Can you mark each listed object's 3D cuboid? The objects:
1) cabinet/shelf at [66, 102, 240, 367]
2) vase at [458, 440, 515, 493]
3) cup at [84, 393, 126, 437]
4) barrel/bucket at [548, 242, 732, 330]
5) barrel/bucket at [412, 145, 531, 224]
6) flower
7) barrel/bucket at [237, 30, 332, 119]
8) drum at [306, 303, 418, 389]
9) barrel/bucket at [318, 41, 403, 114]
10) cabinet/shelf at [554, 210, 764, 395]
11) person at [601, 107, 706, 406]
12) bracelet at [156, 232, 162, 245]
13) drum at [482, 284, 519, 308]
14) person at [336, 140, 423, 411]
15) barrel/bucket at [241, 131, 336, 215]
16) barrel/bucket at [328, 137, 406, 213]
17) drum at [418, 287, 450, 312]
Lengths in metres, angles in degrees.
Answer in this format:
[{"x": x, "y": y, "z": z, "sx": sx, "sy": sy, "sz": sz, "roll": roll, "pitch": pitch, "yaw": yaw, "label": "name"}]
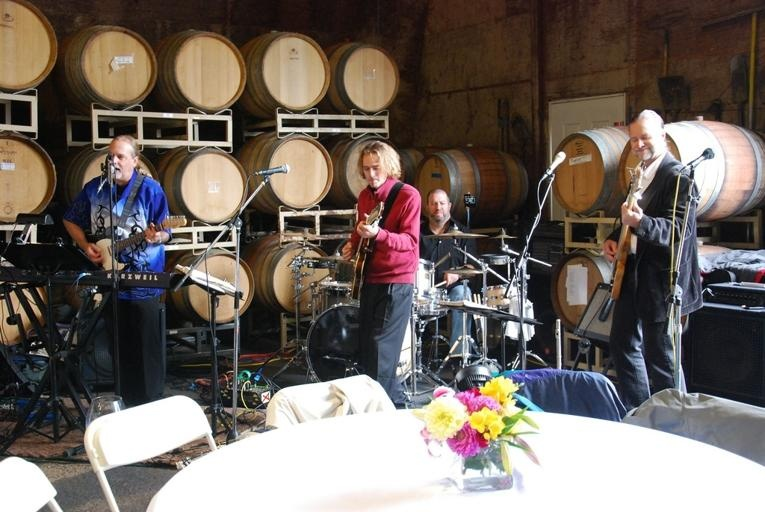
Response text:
[{"x": -2.310, "y": -0.851, "z": 9.693, "sx": 1.862, "sy": 2.498, "sz": 1.206, "roll": -2, "pitch": 3, "yaw": -19, "label": "cabinet/shelf"}, {"x": 0.547, "y": 1.040, "z": 4.675, "sx": 0.266, "sy": 0.250, "sz": 0.447, "roll": 3, "pitch": -7, "yaw": 10, "label": "vase"}, {"x": -1.540, "y": 0.858, "z": 5.127, "sx": 0.195, "sy": 0.153, "sz": 0.169, "roll": -1, "pitch": 6, "yaw": -18, "label": "cup"}, {"x": 2.252, "y": 0.189, "z": 8.424, "sx": 0.950, "sy": 1.018, "sz": 1.379, "roll": 13, "pitch": 14, "yaw": 42, "label": "barrel/bucket"}, {"x": 0.878, "y": -0.826, "z": 10.154, "sx": 1.225, "sy": 0.894, "sz": 0.932, "roll": -2, "pitch": 22, "yaw": -31, "label": "barrel/bucket"}, {"x": 0.463, "y": 0.841, "z": 4.636, "sx": 0.595, "sy": 0.445, "sz": 0.189, "roll": 1, "pitch": 6, "yaw": 2, "label": "flower"}, {"x": -0.985, "y": -1.790, "z": 9.449, "sx": 0.762, "sy": 0.856, "sz": 1.077, "roll": 3, "pitch": 5, "yaw": -21, "label": "barrel/bucket"}, {"x": -0.127, "y": 0.762, "z": 7.940, "sx": 0.718, "sy": 0.728, "sz": 0.702, "roll": -8, "pitch": -3, "yaw": 29, "label": "drum"}, {"x": -0.233, "y": -1.822, "z": 9.774, "sx": 0.711, "sy": 0.737, "sz": 0.740, "roll": 24, "pitch": 3, "yaw": -1, "label": "barrel/bucket"}, {"x": 2.504, "y": 0.600, "z": 8.996, "sx": 2.420, "sy": 1.617, "sz": 1.541, "roll": 1, "pitch": -15, "yaw": -5, "label": "cabinet/shelf"}, {"x": 1.930, "y": 0.043, "z": 6.604, "sx": 0.699, "sy": 2.154, "sz": 0.676, "roll": 2, "pitch": 6, "yaw": 13, "label": "person"}, {"x": -1.708, "y": -0.138, "z": 7.101, "sx": 0.043, "sy": 0.075, "sz": 0.074, "roll": 10, "pitch": 15, "yaw": 21, "label": "bracelet"}, {"x": 1.000, "y": 0.341, "z": 7.851, "sx": 0.213, "sy": 0.144, "sz": 0.212, "roll": -2, "pitch": -1, "yaw": 0, "label": "drum"}, {"x": 0.031, "y": 0.089, "z": 6.828, "sx": 0.454, "sy": 1.864, "sz": 0.482, "roll": 1, "pitch": 6, "yaw": -1, "label": "person"}, {"x": -0.953, "y": -0.807, "z": 9.353, "sx": 0.826, "sy": 0.783, "sz": 1.087, "roll": -5, "pitch": 3, "yaw": -30, "label": "barrel/bucket"}, {"x": -0.023, "y": -0.886, "z": 9.449, "sx": 0.670, "sy": 0.714, "sz": 0.970, "roll": -12, "pitch": 12, "yaw": -3, "label": "barrel/bucket"}, {"x": 0.399, "y": 0.380, "z": 7.822, "sx": 0.186, "sy": 0.230, "sz": 0.366, "roll": 3, "pitch": 6, "yaw": 15, "label": "drum"}]
